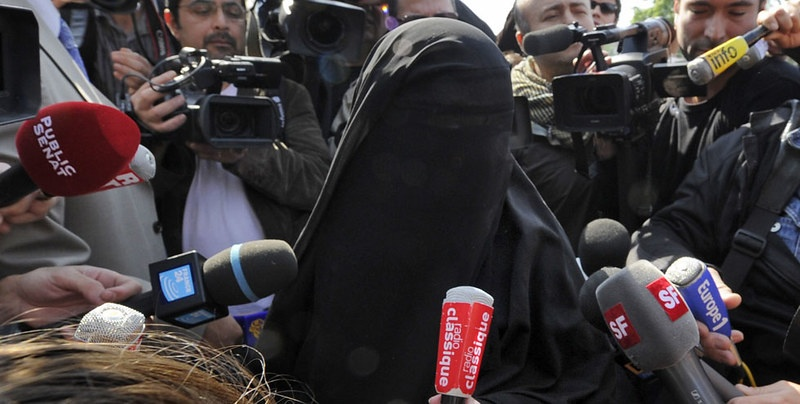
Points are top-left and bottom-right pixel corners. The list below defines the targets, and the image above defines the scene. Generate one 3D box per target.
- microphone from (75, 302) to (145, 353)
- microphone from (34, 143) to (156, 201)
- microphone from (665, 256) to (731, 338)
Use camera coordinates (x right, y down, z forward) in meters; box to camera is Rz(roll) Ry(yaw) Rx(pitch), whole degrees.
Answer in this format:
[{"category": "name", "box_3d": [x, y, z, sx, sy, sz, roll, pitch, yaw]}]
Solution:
[{"category": "microphone", "box_3d": [-1.555, 0.693, 3.303, 0.363, 0.153, 0.265, 9, 20, 17]}, {"category": "microphone", "box_3d": [-1.951, -0.154, 4.107, 0.722, 0.193, 0.223, -20, -38, 35]}, {"category": "microphone", "box_3d": [1.942, 0.659, 4.031, 0.374, 0.584, 0.195, -40, 10, -31]}]
